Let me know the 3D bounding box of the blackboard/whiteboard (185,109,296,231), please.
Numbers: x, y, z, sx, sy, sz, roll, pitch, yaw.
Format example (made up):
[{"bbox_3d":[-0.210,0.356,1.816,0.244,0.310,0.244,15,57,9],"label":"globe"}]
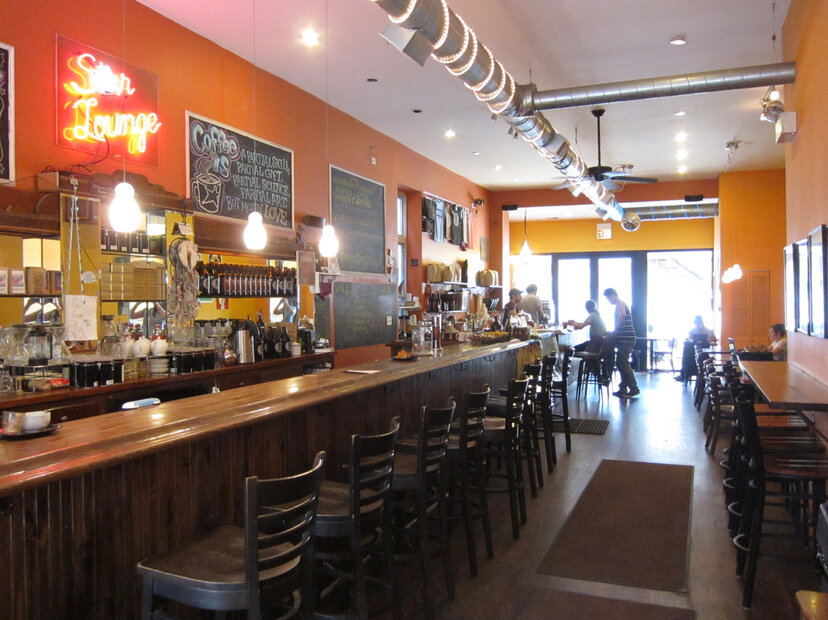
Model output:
[{"bbox_3d":[-1.816,-1.445,6.837,0.055,1.025,1.375,-3,-4,26],"label":"blackboard/whiteboard"}]

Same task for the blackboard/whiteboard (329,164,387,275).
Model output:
[{"bbox_3d":[-0.759,-1.213,8.825,0.039,2.262,1.466,-4,-4,27],"label":"blackboard/whiteboard"}]

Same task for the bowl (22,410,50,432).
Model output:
[{"bbox_3d":[-1.889,0.554,3.332,0.088,0.082,0.103,-1,-5,22],"label":"bowl"}]

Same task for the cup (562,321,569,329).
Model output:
[{"bbox_3d":[2.973,0.271,12.960,0.109,0.147,0.117,2,1,0],"label":"cup"}]

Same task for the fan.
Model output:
[{"bbox_3d":[2.760,-2.317,9.399,1.052,1.148,1.155,-4,4,-27],"label":"fan"}]

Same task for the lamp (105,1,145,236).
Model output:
[{"bbox_3d":[-2.304,-1.659,5.284,0.274,2.096,1.153,0,1,-22],"label":"lamp"}]
